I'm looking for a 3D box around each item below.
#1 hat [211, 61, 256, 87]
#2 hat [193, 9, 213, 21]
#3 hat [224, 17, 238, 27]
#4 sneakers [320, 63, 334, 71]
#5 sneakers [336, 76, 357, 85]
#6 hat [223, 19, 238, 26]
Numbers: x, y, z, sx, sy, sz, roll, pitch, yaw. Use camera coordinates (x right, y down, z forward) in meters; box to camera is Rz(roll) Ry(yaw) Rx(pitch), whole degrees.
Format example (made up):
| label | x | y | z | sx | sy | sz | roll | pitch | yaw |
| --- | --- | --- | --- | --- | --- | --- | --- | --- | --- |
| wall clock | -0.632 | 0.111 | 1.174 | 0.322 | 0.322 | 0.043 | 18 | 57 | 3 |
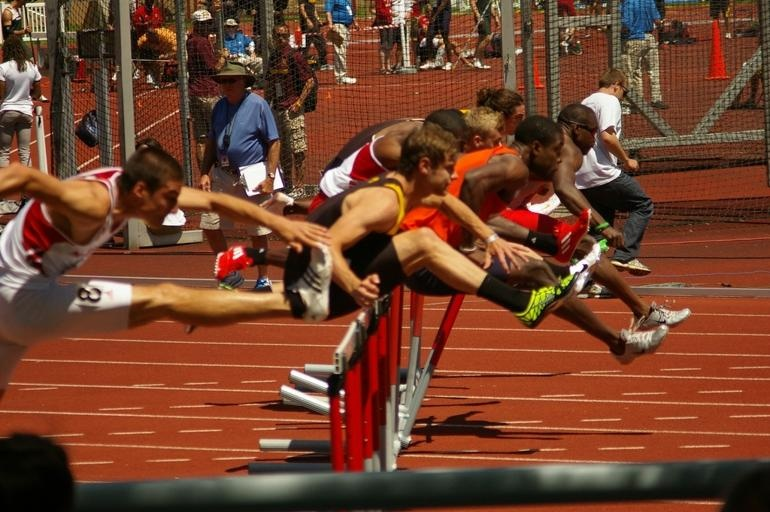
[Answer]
| label | x | y | z | sx | sy | sz | roll | pitch | yaw |
| --- | --- | --- | --- | --- | --- | --- | --- | --- | --- |
| hat | -1.442 | -1.816 | 8.609 | 0.366 | 0.129 | 0.372 | 0 | -15 | 5 |
| hat | -2.346 | -3.104 | 11.381 | 0.172 | 0.102 | 0.220 | -4 | 5 | 6 |
| hat | -2.181 | -3.307 | 12.453 | 0.139 | 0.058 | 0.138 | 6 | 12 | 34 |
| sneakers | -1.011 | -3.297 | 15.405 | 0.107 | 0.116 | 0.315 | 0 | 11 | 18 |
| sneakers | -0.642 | -2.953 | 14.814 | 0.129 | 0.153 | 0.397 | 5 | 9 | 43 |
| hat | -2.180 | -3.293 | 12.451 | 0.132 | 0.051 | 0.131 | 3 | 9 | 31 |
